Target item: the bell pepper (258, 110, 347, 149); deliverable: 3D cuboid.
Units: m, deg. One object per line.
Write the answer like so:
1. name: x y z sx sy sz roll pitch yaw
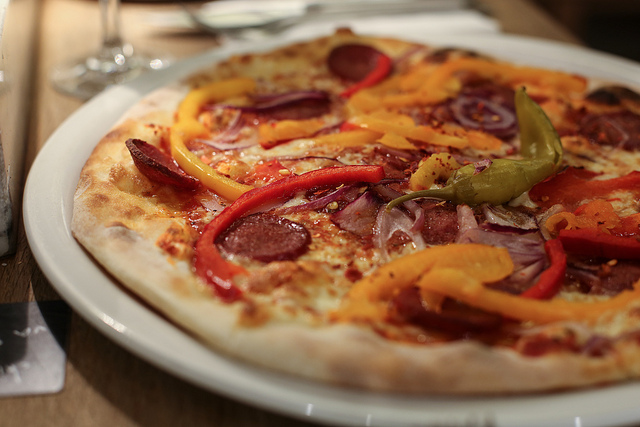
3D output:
1. bell pepper: -0.107 -0.387 2.731 0.525 0.147 0.120 -5 66 -27

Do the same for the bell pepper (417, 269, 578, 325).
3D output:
1. bell pepper: 0.581 0.271 1.965 0.517 0.082 0.090 13 57 6

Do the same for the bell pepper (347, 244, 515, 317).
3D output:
1. bell pepper: 0.381 0.230 2.002 0.330 0.101 0.469 -14 16 -32
